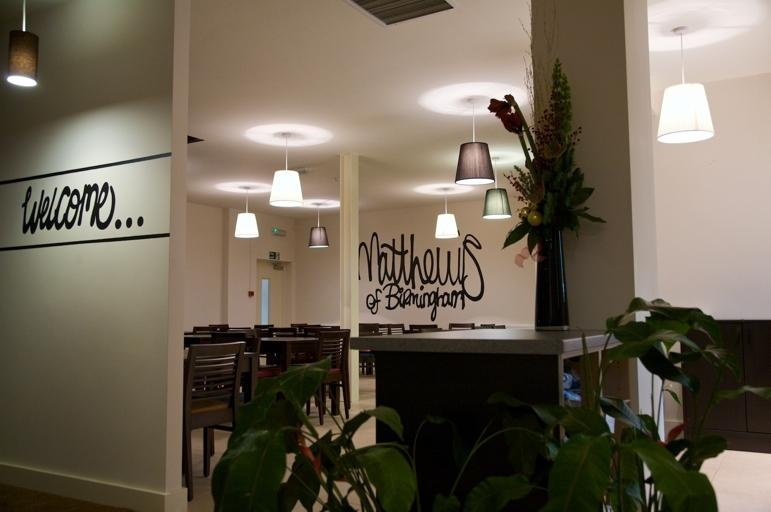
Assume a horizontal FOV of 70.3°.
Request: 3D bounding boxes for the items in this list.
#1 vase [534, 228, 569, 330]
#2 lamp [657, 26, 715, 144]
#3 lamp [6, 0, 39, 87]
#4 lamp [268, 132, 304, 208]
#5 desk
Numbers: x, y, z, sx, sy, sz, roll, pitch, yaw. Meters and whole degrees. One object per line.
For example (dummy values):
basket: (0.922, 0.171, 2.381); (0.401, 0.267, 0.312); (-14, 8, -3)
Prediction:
vase: (0.897, 0.127, 3.007); (0.167, 0.536, 0.080); (-3, -6, 11)
lamp: (2.745, -1.545, 5.091); (0.420, 1.081, 1.015); (-6, -7, 31)
lamp: (-2.811, -1.706, 4.273); (0.197, 0.838, 0.566); (2, -7, -33)
lamp: (-1.368, -1.121, 7.608); (0.388, 1.051, 1.500); (-1, -6, -10)
desk: (0.516, 0.515, 2.621); (0.874, 0.946, 0.883); (-1, -1, 33)
